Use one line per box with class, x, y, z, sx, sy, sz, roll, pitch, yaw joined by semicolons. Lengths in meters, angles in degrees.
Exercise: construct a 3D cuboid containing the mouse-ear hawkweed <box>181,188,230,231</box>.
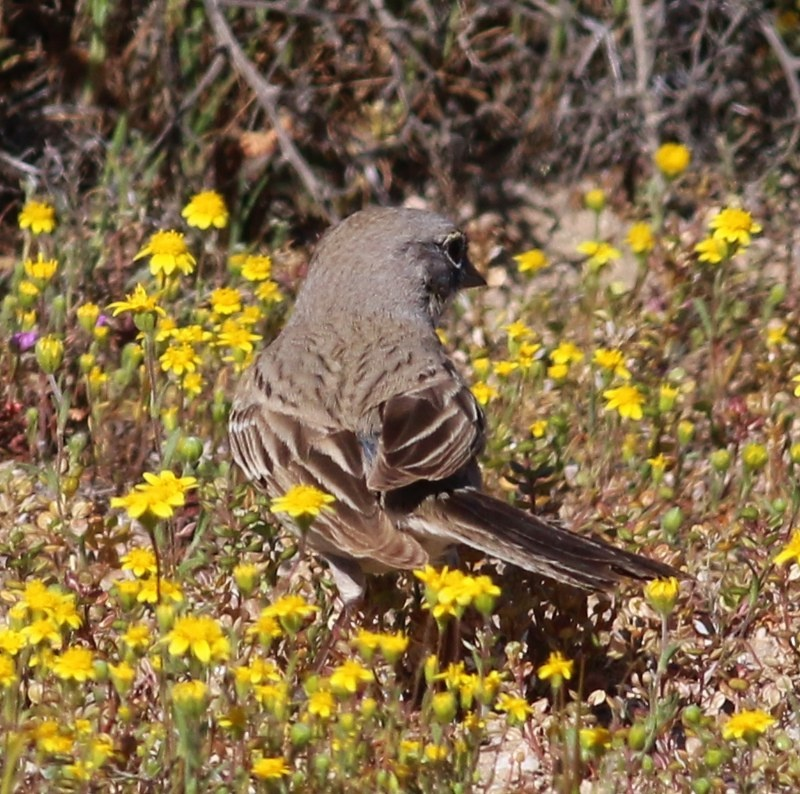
mouse-ear hawkweed;-0.843;-0.795;5.591;0.184;0.174;0.319;4;33;-10
